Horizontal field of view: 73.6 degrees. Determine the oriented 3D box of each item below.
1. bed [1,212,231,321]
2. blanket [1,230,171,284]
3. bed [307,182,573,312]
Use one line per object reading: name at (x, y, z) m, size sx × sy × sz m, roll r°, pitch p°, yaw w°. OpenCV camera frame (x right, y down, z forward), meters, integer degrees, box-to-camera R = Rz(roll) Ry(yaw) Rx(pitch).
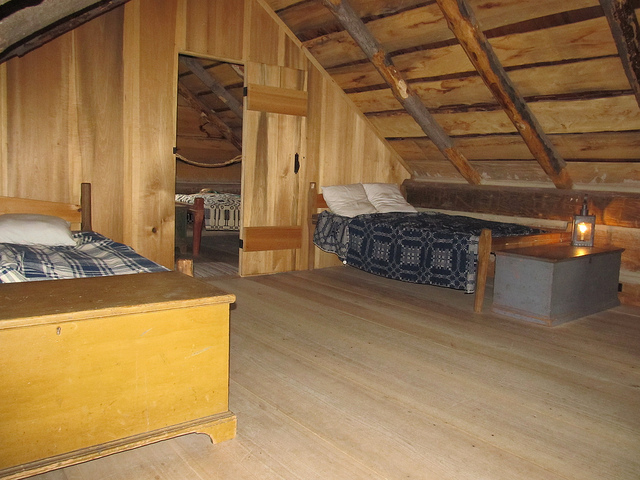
bed at (-1.146, 0.141, 2.044) m, size 0.747 × 0.273 × 1.150 m, roll -8°, pitch 16°, yaw -41°
blanket at (-1.487, 0.082, 2.560) m, size 0.763 × 0.075 × 1.180 m, roll -6°, pitch 13°, yaw -38°
bed at (0.934, -0.051, 4.211) m, size 1.517 × 0.809 × 2.110 m, roll -9°, pitch 13°, yaw -37°
